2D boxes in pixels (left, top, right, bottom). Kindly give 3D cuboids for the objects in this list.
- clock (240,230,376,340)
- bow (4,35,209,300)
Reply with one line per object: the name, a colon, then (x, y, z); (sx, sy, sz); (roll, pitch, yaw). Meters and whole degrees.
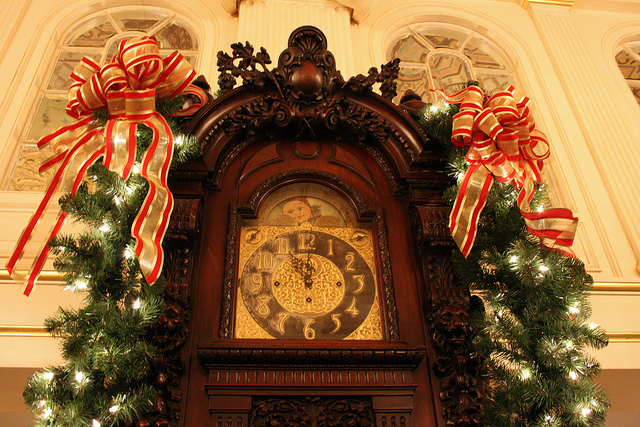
clock: (-0.061, 0.312, 2.699); (0.451, 0.418, 0.038); (1, -17, -5)
bow: (-0.832, -0.243, 2.616); (0.686, 1.072, 0.338); (1, -33, -2)
